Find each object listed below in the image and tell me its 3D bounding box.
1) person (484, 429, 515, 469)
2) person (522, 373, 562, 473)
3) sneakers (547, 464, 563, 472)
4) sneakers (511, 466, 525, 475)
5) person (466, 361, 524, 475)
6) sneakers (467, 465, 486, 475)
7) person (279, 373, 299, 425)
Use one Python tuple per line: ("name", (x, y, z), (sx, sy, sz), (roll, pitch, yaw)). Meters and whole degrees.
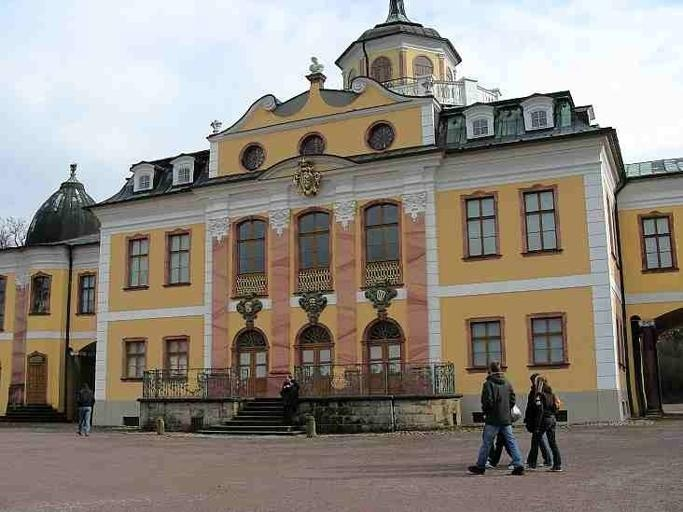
("person", (3.536, 4.313, 20.639), (0.345, 0.371, 1.118), (12, 4, 14))
("person", (4.548, 3.776, 20.854), (0.760, 2.159, 0.550), (-4, -14, 9))
("sneakers", (4.775, 4.739, 20.597), (0.276, 0.198, 0.109), (-2, -5, 43))
("sneakers", (3.939, 4.719, 20.221), (0.438, 0.188, 0.261), (11, -19, -43))
("person", (3.382, 3.570, 20.404), (0.915, 2.485, 1.094), (-14, -18, 41))
("sneakers", (2.984, 4.705, 20.291), (0.367, 0.174, 0.176), (1, -6, -6))
("person", (-1.770, 5.129, 32.501), (0.612, 1.573, 0.460), (-1, -14, -5))
